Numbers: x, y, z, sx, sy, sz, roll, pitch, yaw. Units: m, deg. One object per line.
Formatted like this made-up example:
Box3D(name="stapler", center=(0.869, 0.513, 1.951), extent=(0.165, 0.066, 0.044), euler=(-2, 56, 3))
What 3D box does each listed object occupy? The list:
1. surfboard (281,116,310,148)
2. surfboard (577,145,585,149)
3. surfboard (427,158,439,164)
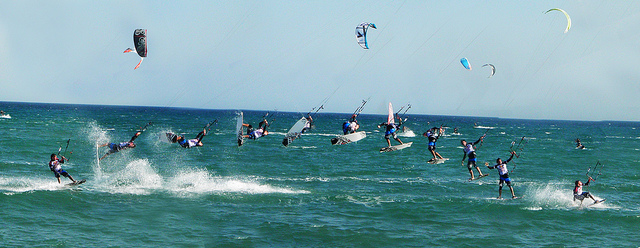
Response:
Box3D(name="surfboard", center=(-4.958, 1.568, 124.424), extent=(2.869, 10.058, 1.467), euler=(51, 22, 9))
Box3D(name="surfboard", center=(69.277, 6.153, 157.328), extent=(1.053, 0.770, 3.733), euler=(11, 5, 35))
Box3D(name="surfboard", center=(23.258, 7.870, 124.822), extent=(0.859, 0.892, 2.523), euler=(1, -14, -21))
